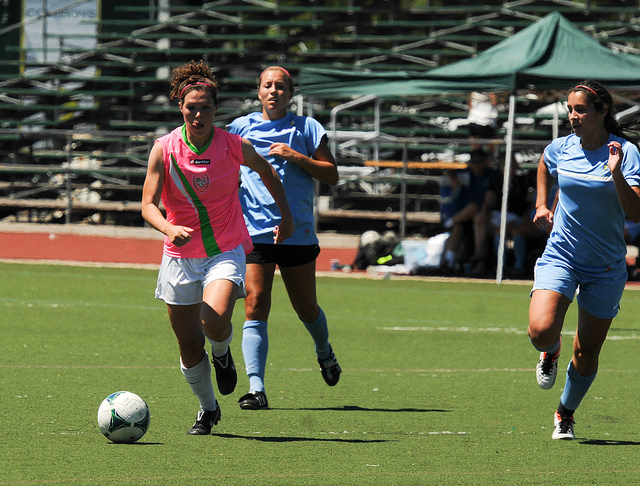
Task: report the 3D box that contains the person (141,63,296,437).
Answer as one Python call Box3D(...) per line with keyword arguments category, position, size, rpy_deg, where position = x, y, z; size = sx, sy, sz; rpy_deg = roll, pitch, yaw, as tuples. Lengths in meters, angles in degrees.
Box3D(category="person", position=(-0.977, 0.038, 9.929), size=(0.891, 3.024, 0.847), rpy_deg=(2, 9, 14))

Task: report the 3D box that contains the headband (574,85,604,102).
Box3D(category="headband", position=(2.240, -1.231, 9.848), size=(0.323, 0.040, 0.033), rpy_deg=(22, 18, 0))

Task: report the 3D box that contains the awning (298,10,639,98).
Box3D(category="awning", position=(2.276, -2.664, 16.987), size=(4.466, 1.174, 1.185), rpy_deg=(3, 8, 22))

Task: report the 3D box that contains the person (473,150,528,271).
Box3D(category="person", position=(2.603, -0.390, 17.359), size=(0.904, 1.604, 0.533), rpy_deg=(-6, 10, -35))

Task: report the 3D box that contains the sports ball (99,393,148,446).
Box3D(category="sports ball", position=(-1.572, 1.408, 9.844), size=(0.443, 0.379, 0.385), rpy_deg=(-23, -7, -11))
